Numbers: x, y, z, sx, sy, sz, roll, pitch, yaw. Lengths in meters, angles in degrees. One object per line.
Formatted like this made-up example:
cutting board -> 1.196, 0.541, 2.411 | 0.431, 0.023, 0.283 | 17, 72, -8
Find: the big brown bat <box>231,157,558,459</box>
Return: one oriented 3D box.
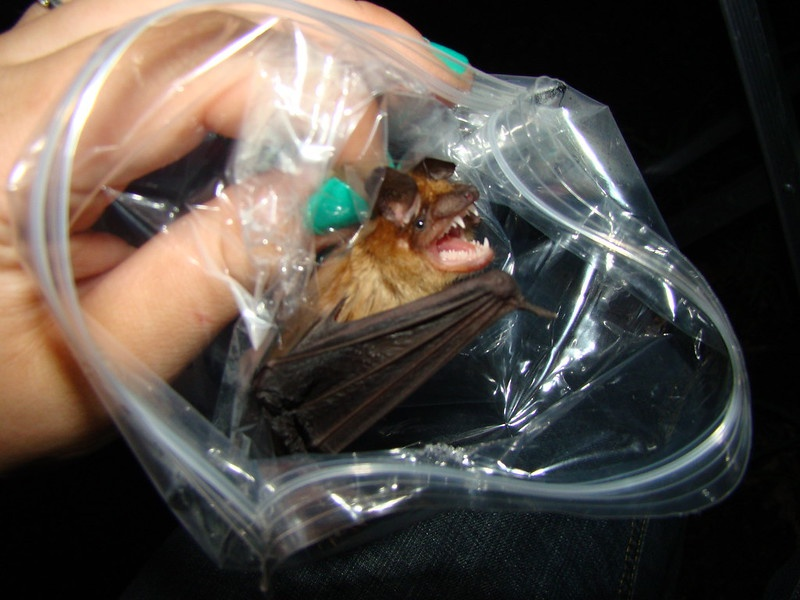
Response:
big brown bat -> -0.076, 0.047, 1.554 | 0.708, 0.554, 0.308 | -49, 67, 19
